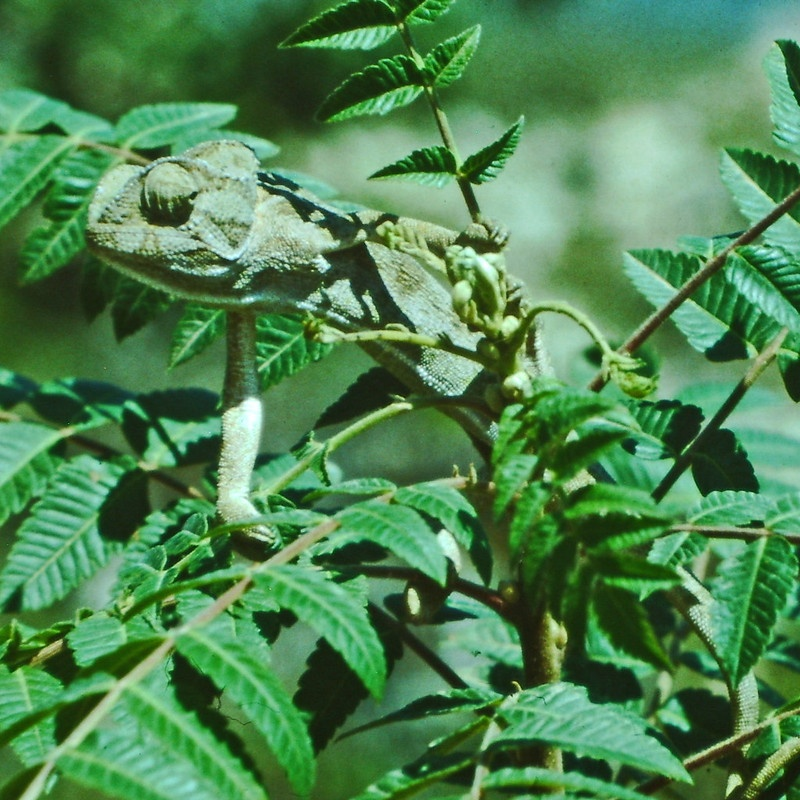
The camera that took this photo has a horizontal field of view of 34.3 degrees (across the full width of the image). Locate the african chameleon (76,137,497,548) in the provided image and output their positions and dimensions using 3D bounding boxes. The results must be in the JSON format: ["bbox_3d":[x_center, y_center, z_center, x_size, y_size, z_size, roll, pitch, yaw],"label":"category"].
[{"bbox_3d":[-0.177,-0.070,2.060,0.709,0.276,0.525,14,-20,-37],"label":"african chameleon"}]
